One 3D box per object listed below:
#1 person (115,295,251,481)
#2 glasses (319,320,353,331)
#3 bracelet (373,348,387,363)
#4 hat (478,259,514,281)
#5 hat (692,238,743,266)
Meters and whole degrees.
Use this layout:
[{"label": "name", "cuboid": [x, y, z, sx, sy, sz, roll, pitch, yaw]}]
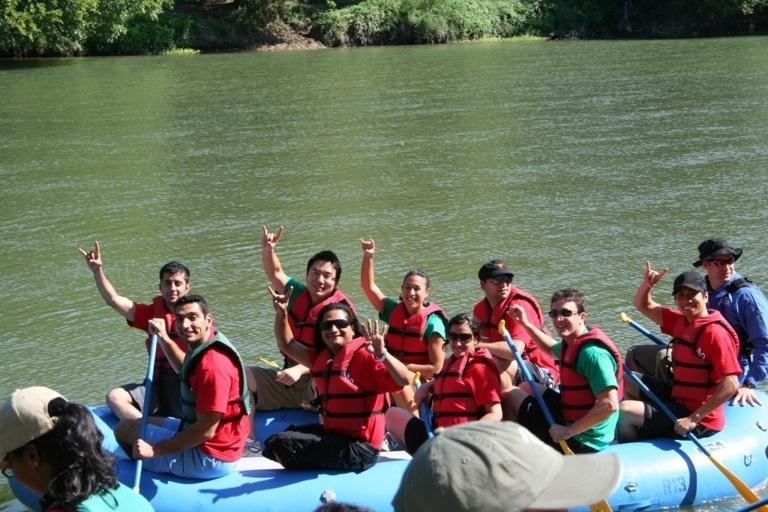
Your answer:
[{"label": "person", "cuboid": [-1.891, 1.268, 8.545, 1.155, 1.767, 0.731, -5, 10, 2]}, {"label": "glasses", "cuboid": [-0.465, 0.646, 8.659, 0.287, 0.106, 0.109, -5, 9, -3]}, {"label": "bracelet", "cuboid": [-0.027, 0.930, 8.437, 0.124, 0.069, 0.143, 8, -1, -4]}, {"label": "hat", "cuboid": [1.246, 0.143, 9.961, 0.240, 0.149, 0.319, 1, -16, -44]}, {"label": "hat", "cuboid": [3.613, 0.025, 9.892, 0.408, 0.162, 0.449, -15, -5, -18]}]
